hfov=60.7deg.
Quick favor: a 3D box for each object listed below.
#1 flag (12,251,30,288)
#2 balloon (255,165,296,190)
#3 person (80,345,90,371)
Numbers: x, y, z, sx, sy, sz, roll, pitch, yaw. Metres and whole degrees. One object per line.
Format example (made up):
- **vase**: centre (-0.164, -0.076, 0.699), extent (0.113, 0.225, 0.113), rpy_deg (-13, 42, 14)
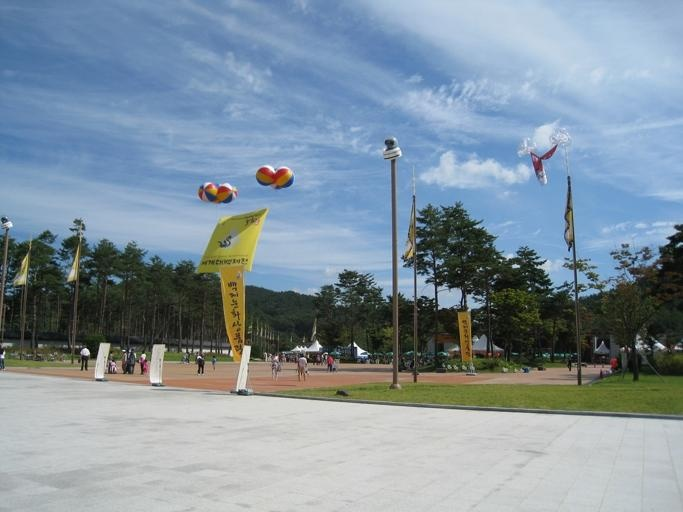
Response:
- **flag**: centre (-30.399, 1.316, 55.685), extent (0.964, 4.106, 9.104), rpy_deg (6, -13, -28)
- **balloon**: centre (-2.843, -3.265, 24.573), extent (1.418, 0.918, 0.727), rpy_deg (-2, -12, 10)
- **person**: centre (-19.066, 7.737, 43.393), extent (0.490, 1.564, 3.328), rpy_deg (5, -13, -24)
